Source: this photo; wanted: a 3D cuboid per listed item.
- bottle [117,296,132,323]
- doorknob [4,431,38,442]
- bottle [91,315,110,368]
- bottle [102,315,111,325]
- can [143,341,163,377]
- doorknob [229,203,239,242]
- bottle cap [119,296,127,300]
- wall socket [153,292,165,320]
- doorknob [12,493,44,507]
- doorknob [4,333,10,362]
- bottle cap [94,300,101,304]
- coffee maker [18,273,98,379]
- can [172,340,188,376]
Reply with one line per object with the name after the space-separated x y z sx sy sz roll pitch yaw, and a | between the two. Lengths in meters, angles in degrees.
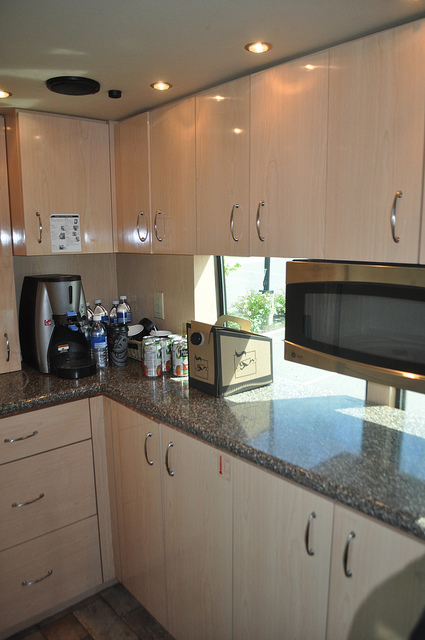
-0.477 -0.055 2.430 0.054 0.151 0.120 -2 9 2 | bottle
-0.716 0.440 1.745 0.043 0.032 0.158 29 13 36 | doorknob
-0.548 0.105 2.179 0.088 0.232 0.116 -10 11 -40 | bottle
-0.570 -0.003 2.437 0.015 0.072 0.050 -24 6 -18 | bottle
-0.254 0.167 1.947 0.079 0.154 0.054 -5 9 -13 | can
0.074 -0.346 1.618 0.014 0.135 0.050 -7 10 -30 | doorknob
-0.476 -0.116 2.403 0.039 0.026 0.029 1 2 -1 | bottle cap
-0.282 -0.080 2.389 0.015 0.175 0.114 -5 9 -30 | wall socket
-0.708 0.694 1.741 0.028 0.021 0.135 28 16 37 | doorknob
-0.935 0.124 2.068 0.017 0.134 0.022 -7 9 -27 | doorknob
-0.587 -0.093 2.298 0.017 0.026 0.033 -2 8 -8 | bottle cap
-0.736 0.002 2.181 0.250 0.450 0.429 -9 19 -41 | coffee maker
-0.144 0.167 1.959 0.069 0.146 0.044 -2 8 6 | can
